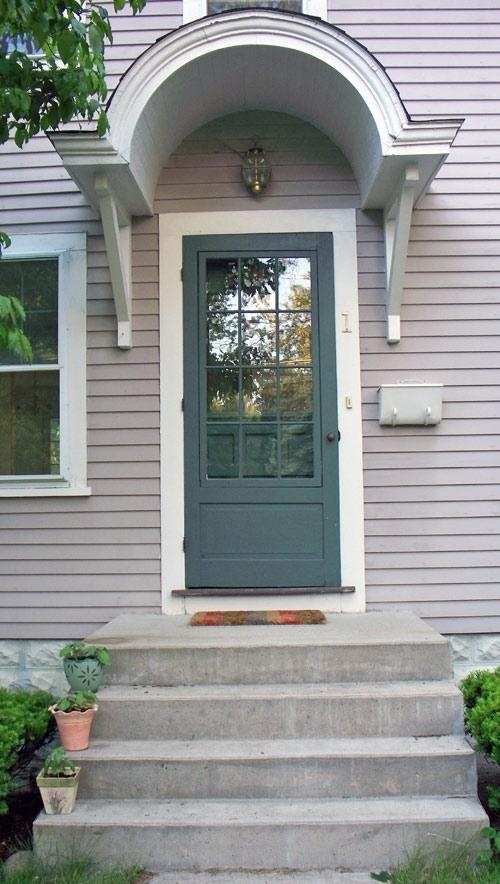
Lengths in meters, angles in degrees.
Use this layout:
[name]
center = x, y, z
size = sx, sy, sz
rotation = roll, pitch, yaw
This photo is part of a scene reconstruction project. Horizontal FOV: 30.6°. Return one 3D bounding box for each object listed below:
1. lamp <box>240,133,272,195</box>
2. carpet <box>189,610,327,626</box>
[lamp]
center = 0.041, -1.462, 4.813
size = 0.158, 0.121, 0.340
rotation = -19, 40, 2
[carpet]
center = 0.042, 0.858, 4.431
size = 0.649, 0.050, 0.273
rotation = 0, -2, 3
